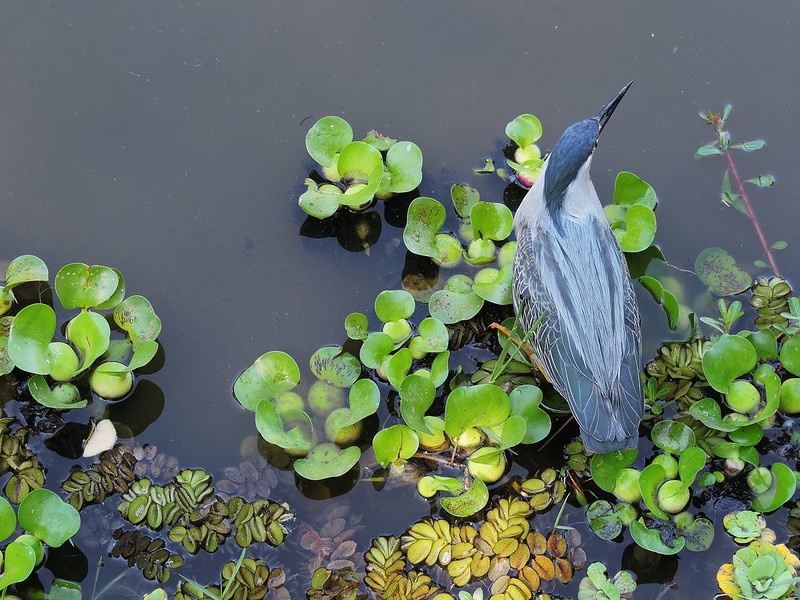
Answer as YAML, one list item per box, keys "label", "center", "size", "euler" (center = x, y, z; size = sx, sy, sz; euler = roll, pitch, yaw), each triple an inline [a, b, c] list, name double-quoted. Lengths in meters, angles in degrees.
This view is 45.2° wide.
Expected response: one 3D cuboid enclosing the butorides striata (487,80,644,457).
- label: "butorides striata"
  center: [1.119, -0.163, 6.059]
  size: [0.733, 1.701, 2.130]
  euler: [-6, 63, 7]
